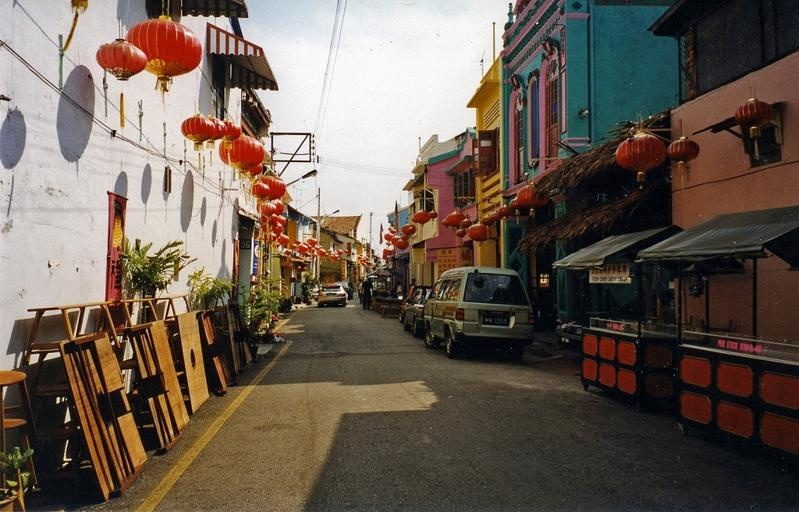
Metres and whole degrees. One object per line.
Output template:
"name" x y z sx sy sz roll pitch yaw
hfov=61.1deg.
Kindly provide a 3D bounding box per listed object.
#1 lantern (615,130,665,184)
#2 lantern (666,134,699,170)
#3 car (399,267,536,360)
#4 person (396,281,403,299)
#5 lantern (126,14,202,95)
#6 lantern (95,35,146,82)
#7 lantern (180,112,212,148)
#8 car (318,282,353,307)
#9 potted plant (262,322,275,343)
"lantern" 5.238 -2.093 14.812 0.985 1.191 1.060 -2 -1 -10
"lantern" 6.084 -2.186 14.676 0.703 0.808 0.701 -1 0 22
"car" 2.018 1.539 18.700 1.824 1.750 3.159 2 -2 -11
"person" 0.021 2.262 45.010 0.436 1.608 0.606 -1 -2 22
"lantern" -3.935 -3.352 11.831 1.102 1.264 1.171 3 -1 -3
"lantern" -4.570 -3.169 11.135 0.652 0.553 0.662 -2 0 39
"lantern" -4.199 -2.556 14.049 0.655 0.743 0.671 1 2 21
"car" -4.338 2.701 45.489 1.699 1.397 2.421 0 5 5
"potted plant" -4.270 2.474 21.678 0.446 0.572 0.488 4 -17 -17
